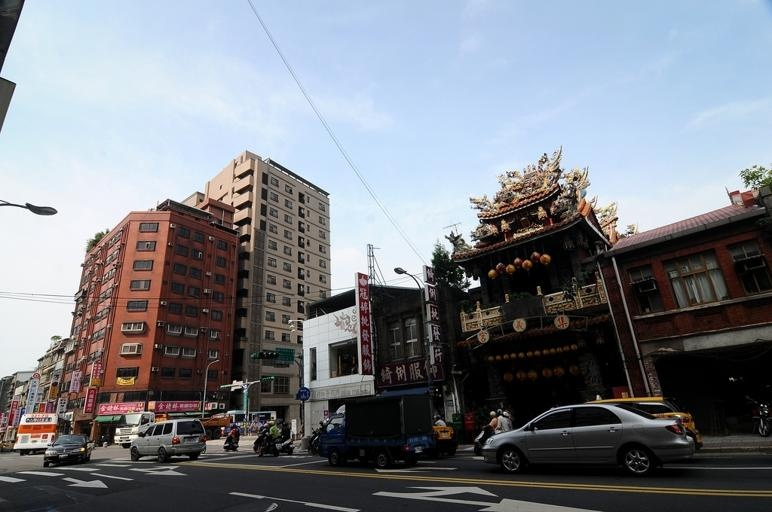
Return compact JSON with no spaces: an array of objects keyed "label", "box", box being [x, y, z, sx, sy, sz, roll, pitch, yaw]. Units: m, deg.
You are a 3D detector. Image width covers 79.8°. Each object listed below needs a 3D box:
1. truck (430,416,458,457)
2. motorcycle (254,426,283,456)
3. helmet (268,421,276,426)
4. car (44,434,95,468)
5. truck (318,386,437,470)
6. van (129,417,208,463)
[{"label":"truck","box":[2.847,9.317,23.713,1.385,0.944,2.161,3,-12,-13]},{"label":"motorcycle","box":[-7.254,11.377,28.514,1.791,1.909,0.792,-22,-30,36]},{"label":"helmet","box":[-7.081,10.465,28.787,0.285,0.258,0.590,12,-27,-32]},{"label":"car","box":[-19.035,11.678,27.735,2.230,1.723,1.783,15,-29,-37]},{"label":"truck","box":[-0.538,8.560,22.664,5.559,3.262,2.932,-19,-28,32]},{"label":"van","box":[-12.877,11.078,27.578,4.482,1.704,2.425,-16,-34,29]}]
